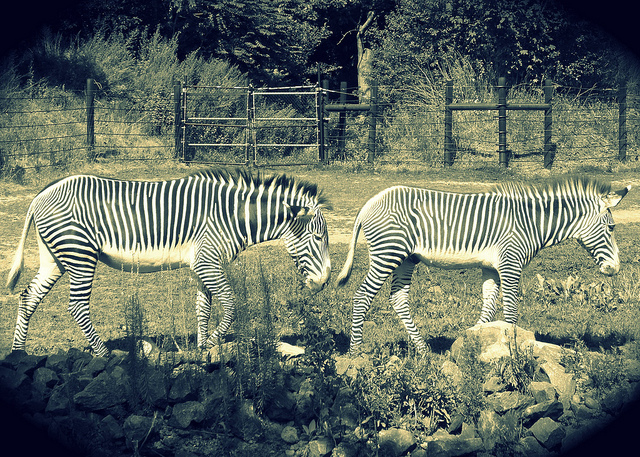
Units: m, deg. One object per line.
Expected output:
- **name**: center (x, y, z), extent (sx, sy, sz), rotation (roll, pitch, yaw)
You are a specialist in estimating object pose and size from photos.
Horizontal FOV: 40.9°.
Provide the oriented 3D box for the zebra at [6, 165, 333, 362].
- **zebra**: center (-3.089, 0.367, 13.385), extent (6.187, 3.972, 1.907), rotation (0, -4, -8)
